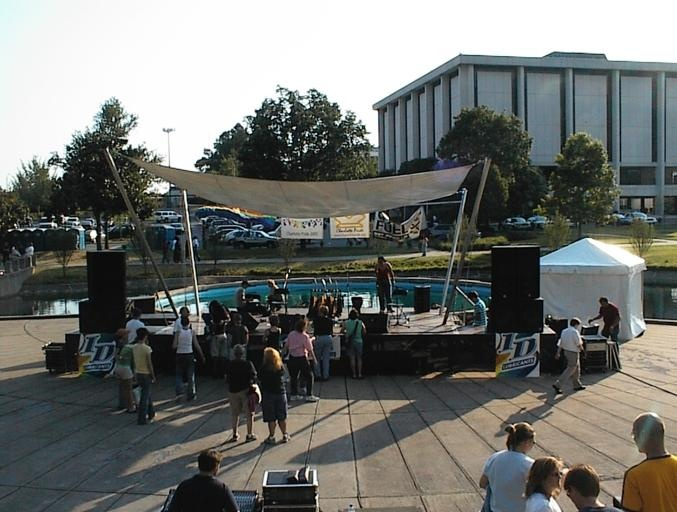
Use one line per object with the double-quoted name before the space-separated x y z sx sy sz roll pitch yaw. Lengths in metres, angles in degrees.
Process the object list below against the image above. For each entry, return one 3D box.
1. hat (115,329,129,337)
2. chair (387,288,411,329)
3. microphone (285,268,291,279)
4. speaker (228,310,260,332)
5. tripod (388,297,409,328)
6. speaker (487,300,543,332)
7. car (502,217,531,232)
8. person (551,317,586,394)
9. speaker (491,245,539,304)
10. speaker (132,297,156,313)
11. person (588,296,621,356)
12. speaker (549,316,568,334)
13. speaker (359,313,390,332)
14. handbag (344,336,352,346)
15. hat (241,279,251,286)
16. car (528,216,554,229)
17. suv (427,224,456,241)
"hat" -4.946 1.759 15.352 0.270 0.200 0.219 -6 9 -34
"chair" 1.936 1.643 21.464 0.592 1.002 0.658 0 -4 3
"microphone" -2.661 0.950 35.479 0.161 0.563 0.212 1 -9 -14
"speaker" -2.557 1.737 18.418 0.676 0.606 0.514 11 9 22
"tripod" 2.016 1.847 21.492 0.626 1.014 0.695 -4 8 -21
"speaker" 4.719 1.308 18.001 1.358 1.028 0.781 0 3 5
"car" 16.752 -2.697 63.028 2.132 1.141 1.487 -2 7 14
"person" 5.820 2.382 16.831 0.715 1.814 1.566 2 8 20
"speaker" 4.774 0.439 18.198 1.255 1.485 1.324 -1 1 13
"speaker" -6.376 1.614 22.195 0.661 0.470 0.697 1 3 0
"person" 7.617 1.932 19.144 0.759 1.628 2.331 2 8 22
"speaker" 6.226 1.925 18.996 0.505 0.558 0.393 0 3 9
"speaker" 1.016 1.880 18.762 0.808 0.619 0.466 3 19 5
"handbag" 0.264 2.219 17.621 0.172 0.193 0.338 -5 39 -1
"hat" -3.647 1.073 26.640 0.456 0.203 0.425 0 -2 37
"car" 18.670 -3.112 63.079 1.359 0.978 3.718 0 7 11
"suv" 9.571 -2.279 62.314 2.354 1.388 1.473 -7 0 27
